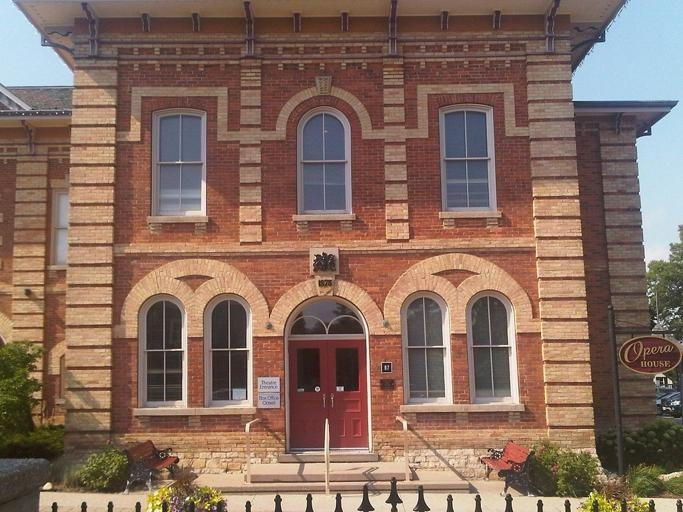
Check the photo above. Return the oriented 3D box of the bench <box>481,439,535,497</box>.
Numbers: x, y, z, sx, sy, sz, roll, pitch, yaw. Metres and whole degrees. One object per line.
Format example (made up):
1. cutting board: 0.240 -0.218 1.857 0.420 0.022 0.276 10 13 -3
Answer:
1. bench: 4.304 5.469 29.087 0.900 1.038 1.636 2 0 -11

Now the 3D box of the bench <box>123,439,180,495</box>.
1. bench: -4.899 5.432 28.869 0.846 1.407 1.476 -12 -18 32
